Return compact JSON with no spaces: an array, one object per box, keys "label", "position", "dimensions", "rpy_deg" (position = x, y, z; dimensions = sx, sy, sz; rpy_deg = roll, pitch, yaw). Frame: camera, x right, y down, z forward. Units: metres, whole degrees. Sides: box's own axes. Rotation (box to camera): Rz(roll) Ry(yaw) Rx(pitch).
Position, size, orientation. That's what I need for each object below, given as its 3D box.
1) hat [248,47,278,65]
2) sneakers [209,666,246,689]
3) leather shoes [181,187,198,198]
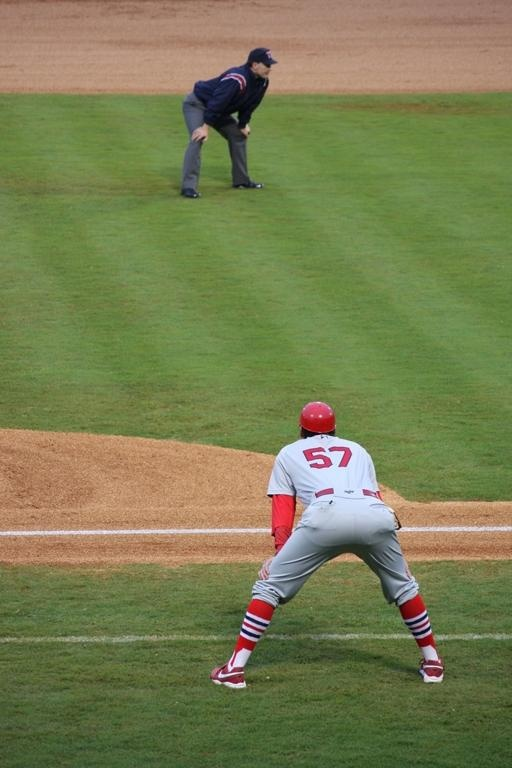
[{"label":"hat","position":[0.073,-3.596,20.078],"dimensions":[0.332,0.224,0.240],"rpy_deg":[5,31,4]},{"label":"sneakers","position":[-0.207,2.210,13.628],"dimensions":[0.285,0.165,0.125],"rpy_deg":[11,5,17]},{"label":"leather shoes","position":[-0.821,-2.328,22.269],"dimensions":[0.168,0.104,0.140],"rpy_deg":[10,-7,15]}]
